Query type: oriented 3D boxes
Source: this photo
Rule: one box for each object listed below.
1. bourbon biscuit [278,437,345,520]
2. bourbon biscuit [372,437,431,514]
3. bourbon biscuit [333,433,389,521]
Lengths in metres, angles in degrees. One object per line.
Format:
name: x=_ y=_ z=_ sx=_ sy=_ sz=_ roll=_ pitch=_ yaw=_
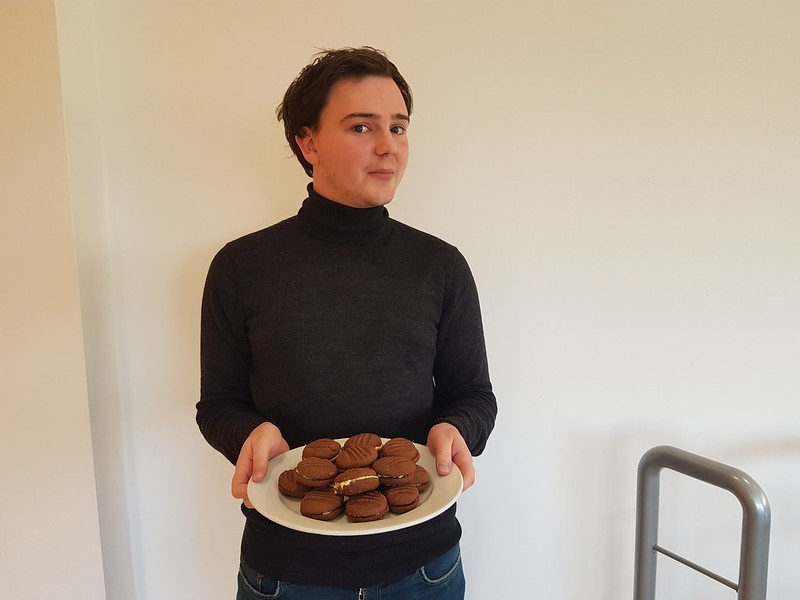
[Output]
bourbon biscuit: x=-0.199 y=0.415 z=1.581 sx=0.144 sy=0.039 sz=0.149 roll=23 pitch=44 yaw=19
bourbon biscuit: x=0.003 y=0.408 z=1.585 sx=0.111 sy=0.054 sz=0.148 roll=-2 pitch=43 yaw=-8
bourbon biscuit: x=-0.096 y=0.411 z=1.581 sx=0.107 sy=0.056 sz=0.171 roll=-1 pitch=59 yaw=-7
